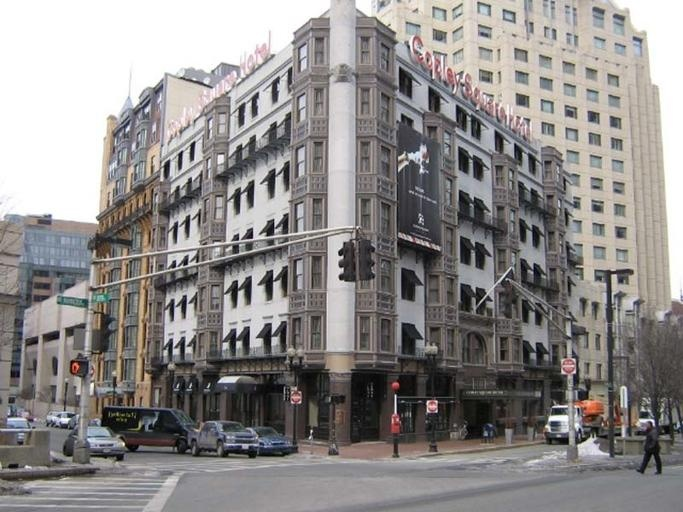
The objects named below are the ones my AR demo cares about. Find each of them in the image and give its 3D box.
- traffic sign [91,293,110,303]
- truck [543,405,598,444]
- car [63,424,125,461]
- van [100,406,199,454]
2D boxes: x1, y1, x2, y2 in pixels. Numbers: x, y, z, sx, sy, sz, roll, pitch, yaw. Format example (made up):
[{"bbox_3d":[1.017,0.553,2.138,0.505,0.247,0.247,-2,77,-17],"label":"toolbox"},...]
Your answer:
[{"bbox_3d":[-13.692,2.386,52.518,0.920,0.759,0.557,0,-8,-5],"label":"traffic sign"},{"bbox_3d":[17.582,13.174,72.777,3.358,3.347,4.153,-5,-17,11],"label":"truck"},{"bbox_3d":[-14.961,11.629,56.763,2.727,2.337,6.332,6,-10,-36],"label":"car"},{"bbox_3d":[-13.346,12.020,63.081,6.519,3.137,2.690,-3,-8,20],"label":"van"}]
